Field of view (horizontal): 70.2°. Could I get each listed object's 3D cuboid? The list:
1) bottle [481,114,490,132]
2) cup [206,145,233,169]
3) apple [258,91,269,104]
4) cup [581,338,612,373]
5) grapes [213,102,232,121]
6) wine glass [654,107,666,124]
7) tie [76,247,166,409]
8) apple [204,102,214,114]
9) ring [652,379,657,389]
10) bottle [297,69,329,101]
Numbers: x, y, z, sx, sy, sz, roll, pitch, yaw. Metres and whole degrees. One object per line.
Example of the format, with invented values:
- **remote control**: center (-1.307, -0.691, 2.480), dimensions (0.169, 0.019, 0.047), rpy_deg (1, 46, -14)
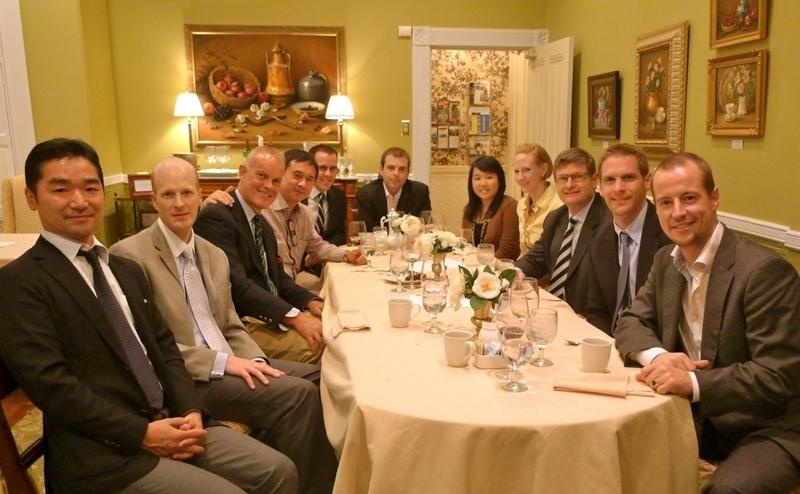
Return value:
- **bottle**: center (1.357, -1.966, 9.001), dimensions (0.180, 0.305, 0.054), rpy_deg (-5, 15, -17)
- **cup**: center (-2.397, -1.193, 7.543), dimensions (0.303, 0.331, 0.298), rpy_deg (-2, 5, 0)
- **apple**: center (-1.782, -1.977, 7.511), dimensions (0.138, 0.142, 0.144), rpy_deg (-8, -25, -37)
- **cup**: center (0.867, 0.490, 2.591), dimensions (0.163, 0.123, 0.133), rpy_deg (-1, 1, 36)
- **grapes**: center (-2.319, -1.771, 7.439), dimensions (0.225, 0.150, 0.218), rpy_deg (-8, 39, -15)
- **wine glass**: center (2.503, -1.290, 5.487), dimensions (0.045, 0.120, 0.090), rpy_deg (9, -6, -38)
- **tie**: center (-1.256, 0.408, 2.613), dimensions (0.208, 0.900, 0.151), rpy_deg (-21, -13, -32)
- **apple**: center (-2.470, -1.828, 7.425), dimensions (0.139, 0.138, 0.127), rpy_deg (7, 19, -7)
- **ring**: center (1.084, 0.589, 2.436), dimensions (0.029, 0.024, 0.028), rpy_deg (-4, 9, 1)
- **bottle**: center (-1.125, -2.110, 7.439), dimensions (0.404, 0.419, 0.328), rpy_deg (13, 18, 35)
